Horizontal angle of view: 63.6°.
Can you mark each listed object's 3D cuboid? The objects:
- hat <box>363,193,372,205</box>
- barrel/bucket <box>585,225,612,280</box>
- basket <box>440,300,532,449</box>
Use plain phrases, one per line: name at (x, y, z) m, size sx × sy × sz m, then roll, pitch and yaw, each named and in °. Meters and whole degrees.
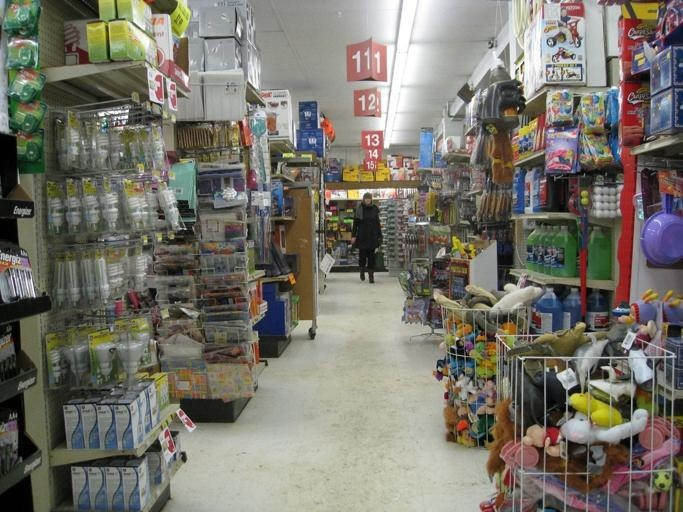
hat at (0.561, -1.257, 12.137) m, size 0.146 × 0.234 × 0.223 m, roll -2°, pitch 15°, yaw 0°
barrel/bucket at (1.804, -0.024, 3.859) m, size 0.158 × 0.360 × 0.081 m, roll 1°, pitch 5°, yaw 22°
basket at (0.896, 0.725, 3.974) m, size 0.722 × 1.077 × 0.848 m, roll 2°, pitch 4°, yaw 11°
